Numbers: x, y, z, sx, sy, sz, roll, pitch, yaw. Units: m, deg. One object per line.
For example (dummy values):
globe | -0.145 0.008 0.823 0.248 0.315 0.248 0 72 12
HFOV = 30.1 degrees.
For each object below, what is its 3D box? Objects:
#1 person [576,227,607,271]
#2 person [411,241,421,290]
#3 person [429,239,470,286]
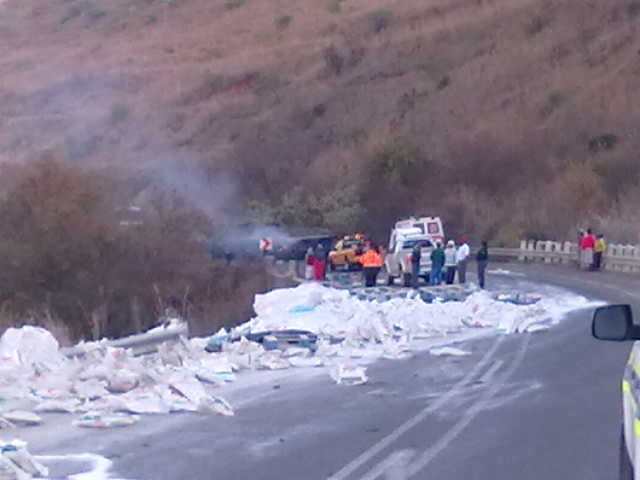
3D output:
person | 10.188 0.300 44.818 0.922 1.670 1.601 -2 10 12
person | 2.921 0.852 36.398 0.361 1.251 1.570 -3 10 6
person | 4.152 0.704 37.547 1.002 1.453 2.047 -4 10 6
